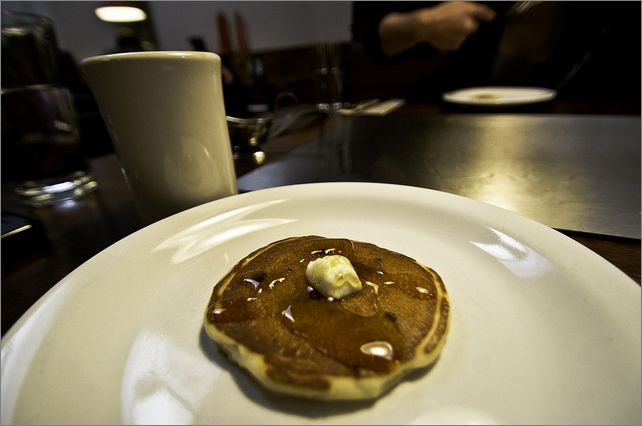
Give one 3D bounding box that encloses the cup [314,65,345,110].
[{"bbox_3d":[0.044,-0.625,2.063,0.143,0.201,0.148,-3,39,2],"label":"cup"}]
